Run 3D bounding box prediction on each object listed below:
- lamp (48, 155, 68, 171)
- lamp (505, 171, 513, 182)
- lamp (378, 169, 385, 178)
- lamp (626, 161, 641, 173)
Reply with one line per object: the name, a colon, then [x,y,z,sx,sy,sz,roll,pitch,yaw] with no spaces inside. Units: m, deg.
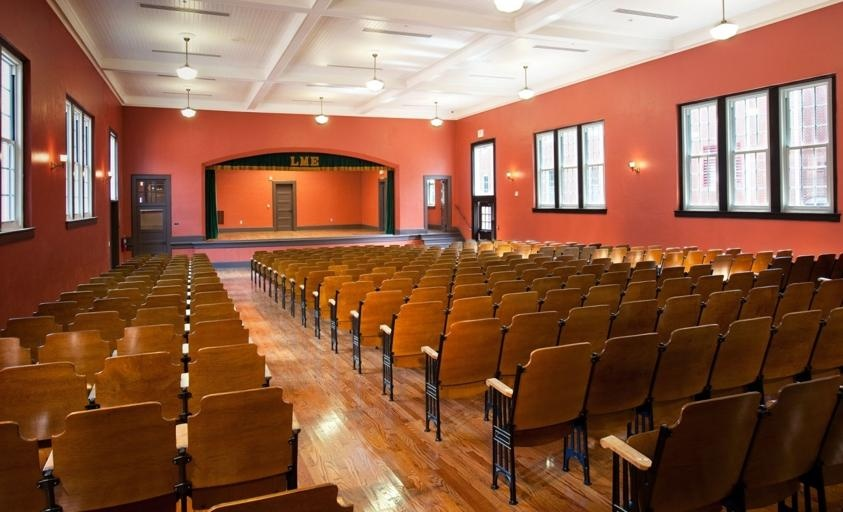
lamp: [-7.017,-1.802,10.912,0.356,0.400,0.287,0,1,27]
lamp: [3.122,-2.835,20.025,0.297,0.361,0.254,-18,4,-22]
lamp: [-1.797,-3.773,26.026,0.353,0.456,0.488,2,5,19]
lamp: [5.784,-2.427,15.424,0.118,0.334,0.456,-8,15,-21]
